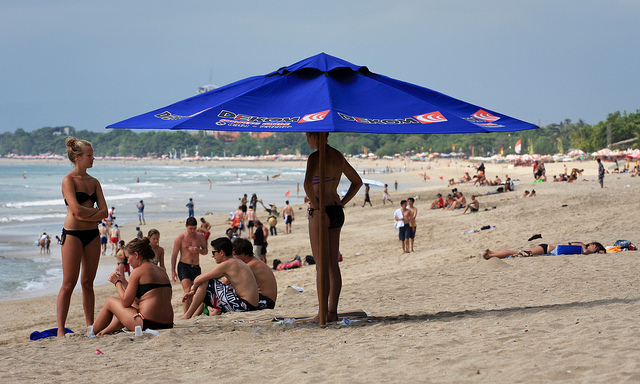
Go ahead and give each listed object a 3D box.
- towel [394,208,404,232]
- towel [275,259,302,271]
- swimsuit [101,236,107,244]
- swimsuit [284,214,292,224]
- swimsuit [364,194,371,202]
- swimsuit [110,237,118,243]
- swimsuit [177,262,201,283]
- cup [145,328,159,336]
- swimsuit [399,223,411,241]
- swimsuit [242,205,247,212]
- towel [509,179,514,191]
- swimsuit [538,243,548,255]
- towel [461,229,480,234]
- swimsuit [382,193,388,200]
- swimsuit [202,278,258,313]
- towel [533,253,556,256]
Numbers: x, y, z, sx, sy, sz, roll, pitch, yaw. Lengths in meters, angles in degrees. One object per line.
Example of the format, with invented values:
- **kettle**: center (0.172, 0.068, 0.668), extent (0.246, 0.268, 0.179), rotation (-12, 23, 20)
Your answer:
- **towel**: center (2.784, 0.954, 28.947), extent (0.503, 0.648, 0.197), rotation (-1, -1, 11)
- **towel**: center (-1.087, 2.455, 27.824), extent (0.540, 0.194, 0.429), rotation (-14, 2, 8)
- **swimsuit**: center (-9.163, 2.041, 34.858), extent (0.399, 0.379, 0.231), rotation (1, 6, -11)
- **swimsuit**: center (-1.399, 1.177, 35.914), extent (0.397, 0.531, 0.305), rotation (0, -1, -9)
- **swimsuit**: center (2.551, 0.305, 44.370), extent (0.336, 0.443, 0.312), rotation (-5, 4, 6)
- **swimsuit**: center (-8.665, 1.992, 34.591), extent (0.295, 0.208, 0.209), rotation (3, 13, -10)
- **swimsuit**: center (-3.805, 2.348, 23.811), extent (0.783, 0.637, 0.493), rotation (7, -21, -27)
- **cup**: center (-4.227, 3.527, 20.747), extent (0.371, 0.136, 0.180), rotation (-3, 2, 17)
- **swimsuit**: center (2.944, 1.354, 28.504), extent (0.493, 0.660, 0.383), rotation (1, -23, 14)
- **swimsuit**: center (-3.502, 0.752, 38.008), extent (0.267, 0.377, 0.229), rotation (1, -5, -7)
- **towel**: center (9.928, -0.315, 42.528), extent (0.175, 0.420, 1.272), rotation (-3, 1, 14)
- **swimsuit**: center (6.747, 1.718, 24.895), extent (0.236, 0.192, 0.243), rotation (3, 1, -22)
- **towel**: center (5.483, 1.439, 30.011), extent (0.651, 0.118, 0.562), rotation (-4, 2, -41)
- **swimsuit**: center (3.564, 0.200, 44.859), extent (0.365, 0.469, 0.276), rotation (2, -6, -1)
- **swimsuit**: center (-2.391, 2.838, 22.021), extent (1.408, 0.511, 0.729), rotation (30, -28, 9)
- **towel**: center (6.734, 1.893, 24.779), extent (0.592, 0.030, 0.121), rotation (-3, 1, 1)
